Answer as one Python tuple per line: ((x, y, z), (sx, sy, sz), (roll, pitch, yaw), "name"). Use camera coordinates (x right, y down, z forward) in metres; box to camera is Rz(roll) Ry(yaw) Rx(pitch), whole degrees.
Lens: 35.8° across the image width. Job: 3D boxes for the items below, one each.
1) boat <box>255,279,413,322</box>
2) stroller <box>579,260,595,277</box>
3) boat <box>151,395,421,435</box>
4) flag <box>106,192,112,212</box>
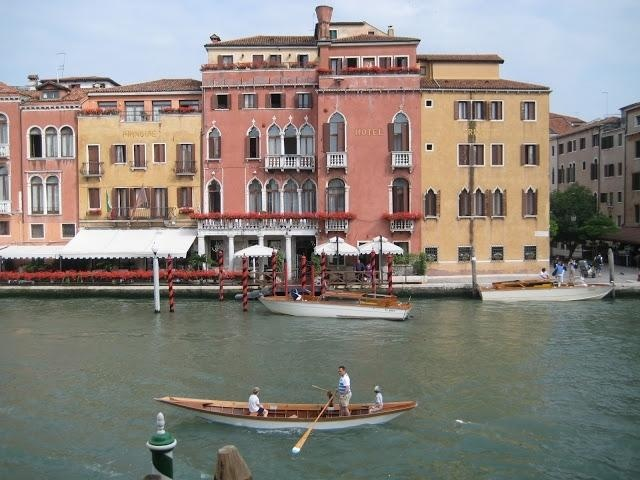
((1.537, 5.017, 73.350), (13.156, 3.128, 3.875), (2, -7, 5), "boat")
((23.045, 2.552, 85.163), (1.377, 1.409, 0.942), (20, -21, -41), "stroller")
((-2.093, 9.919, 55.935), (14.868, 2.024, 2.812), (1, -5, -4), "boat")
((-18.460, -3.293, 86.485), (0.492, 1.730, 1.130), (0, -2, -14), "flag")
